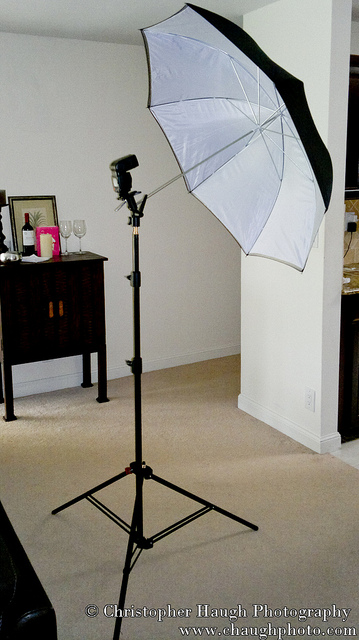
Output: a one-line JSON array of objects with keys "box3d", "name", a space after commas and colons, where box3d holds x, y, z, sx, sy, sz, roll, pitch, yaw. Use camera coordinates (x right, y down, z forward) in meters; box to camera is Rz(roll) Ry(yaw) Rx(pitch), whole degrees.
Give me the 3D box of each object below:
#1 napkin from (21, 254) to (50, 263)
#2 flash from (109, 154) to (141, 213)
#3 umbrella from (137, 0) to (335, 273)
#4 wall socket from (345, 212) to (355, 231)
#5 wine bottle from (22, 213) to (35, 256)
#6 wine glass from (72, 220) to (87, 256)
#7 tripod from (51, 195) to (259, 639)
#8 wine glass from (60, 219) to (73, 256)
[{"box3d": [-0.872, -0.367, 3.342, 0.156, 0.029, 0.148, 0, 12, 2], "name": "napkin"}, {"box3d": [-0.143, -0.368, 1.508, 0.064, 0.169, 0.057, -22, 39, -27], "name": "flash"}, {"box3d": [0.150, -0.433, 1.405, 0.496, 0.621, 0.358, 9, 15, 41], "name": "umbrella"}, {"box3d": [1.128, -0.654, 3.685, 0.075, 0.118, 0.026, -6, 12, -27], "name": "wall socket"}, {"box3d": [-0.943, -0.532, 3.457, 0.069, 0.257, 0.135, -4, 11, -15], "name": "wine bottle"}, {"box3d": [-0.656, -0.547, 3.662, 0.077, 0.218, 0.346, -3, 12, -10], "name": "wine glass"}, {"box3d": [-0.124, 0.236, 2.028, 0.624, 1.346, 1.029, -4, 12, -15], "name": "tripod"}, {"box3d": [-0.738, -0.542, 3.640, 0.078, 0.222, 0.371, -3, 12, -12], "name": "wine glass"}]
